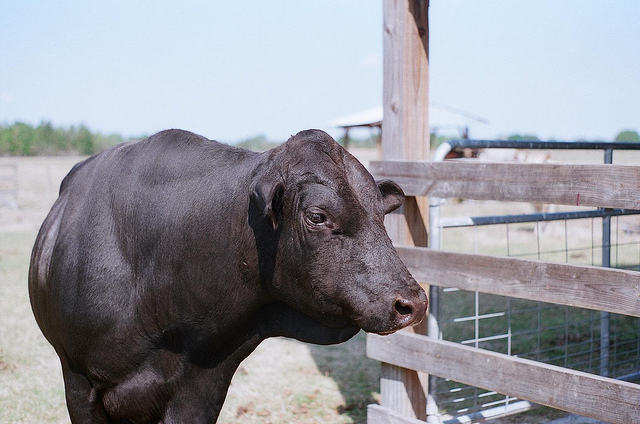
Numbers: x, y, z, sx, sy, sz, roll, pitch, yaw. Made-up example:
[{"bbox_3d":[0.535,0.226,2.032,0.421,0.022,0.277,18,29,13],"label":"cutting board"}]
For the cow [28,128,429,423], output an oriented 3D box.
[{"bbox_3d":[-0.719,0.466,5.760,2.538,2.061,0.582,2,2,22],"label":"cow"}]
